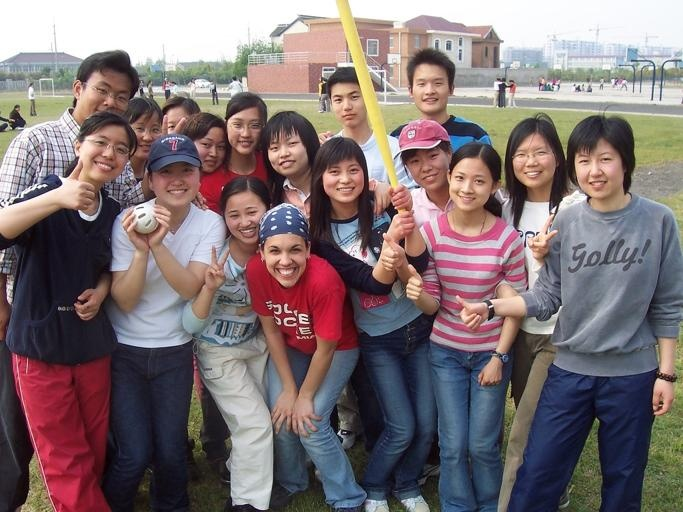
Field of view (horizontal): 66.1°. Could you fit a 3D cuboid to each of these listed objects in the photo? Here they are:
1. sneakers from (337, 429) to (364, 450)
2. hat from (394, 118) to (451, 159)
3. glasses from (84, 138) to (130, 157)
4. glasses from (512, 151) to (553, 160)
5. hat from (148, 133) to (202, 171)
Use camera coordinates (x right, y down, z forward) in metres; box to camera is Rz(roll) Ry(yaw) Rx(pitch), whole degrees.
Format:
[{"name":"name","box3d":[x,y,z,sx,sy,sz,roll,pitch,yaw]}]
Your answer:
[{"name":"sneakers","box3d":[0.061,1.420,4.141,0.086,0.104,0.238,-32,-6,15]},{"name":"hat","box3d":[0.585,-0.847,3.716,0.409,0.234,0.303,-16,2,-40]},{"name":"glasses","box3d":[-1.356,-0.641,3.081,0.246,0.099,0.133,-11,14,-31]},{"name":"glasses","box3d":[1.247,-0.658,3.408,0.243,0.056,0.085,1,12,19]},{"name":"hat","box3d":[-1.078,-0.674,3.369,0.334,0.241,0.429,-8,10,-24]}]
